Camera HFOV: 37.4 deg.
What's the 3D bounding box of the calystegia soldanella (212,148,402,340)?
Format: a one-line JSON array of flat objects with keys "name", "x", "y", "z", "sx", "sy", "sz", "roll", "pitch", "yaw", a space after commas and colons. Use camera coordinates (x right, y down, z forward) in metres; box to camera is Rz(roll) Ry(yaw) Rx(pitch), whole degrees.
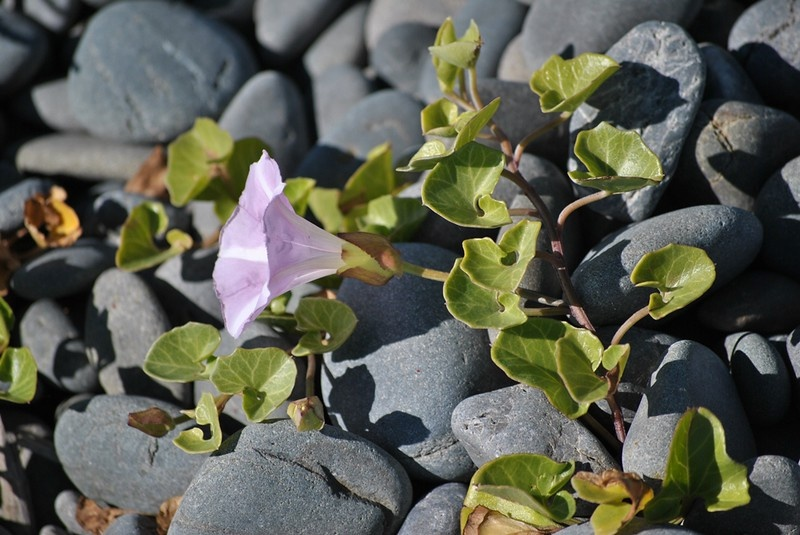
[{"name": "calystegia soldanella", "x": -0.332, "y": 0.021, "z": 3.356, "sx": 0.493, "sy": 0.206, "sz": 0.439, "roll": 38, "pitch": 86, "yaw": 8}]
